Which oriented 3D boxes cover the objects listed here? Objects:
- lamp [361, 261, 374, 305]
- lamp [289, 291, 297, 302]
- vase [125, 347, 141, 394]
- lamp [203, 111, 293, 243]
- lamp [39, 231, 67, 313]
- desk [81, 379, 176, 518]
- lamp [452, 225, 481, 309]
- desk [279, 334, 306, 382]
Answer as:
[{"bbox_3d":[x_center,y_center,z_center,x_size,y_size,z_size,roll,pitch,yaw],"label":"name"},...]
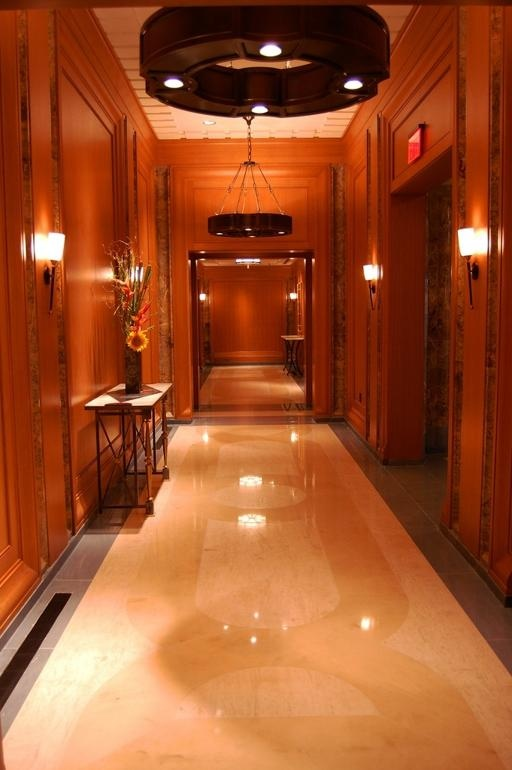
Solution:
[{"bbox_3d":[1.459,-1.299,6.599,0.130,0.527,0.342,-1,1,9],"label":"lamp"},{"bbox_3d":[1.473,-3.364,19.386,0.308,0.258,0.247,2,-2,-29],"label":"lamp"},{"bbox_3d":[-1.190,-0.140,4.922,0.131,0.442,0.150,-1,1,-22],"label":"vase"},{"bbox_3d":[-0.106,-2.771,6.664,0.973,1.550,1.059,0,9,-2],"label":"lamp"},{"bbox_3d":[-1.383,-0.750,3.474,0.121,0.493,0.375,-1,1,-22],"label":"lamp"},{"bbox_3d":[-1.270,0.596,5.507,0.494,1.106,1.912,0,4,-3],"label":"desk"},{"bbox_3d":[1.361,-0.764,3.320,0.101,0.501,0.263,0,1,12],"label":"lamp"},{"bbox_3d":[1.378,-0.967,17.204,1.173,1.358,1.273,-1,2,0],"label":"desk"}]
